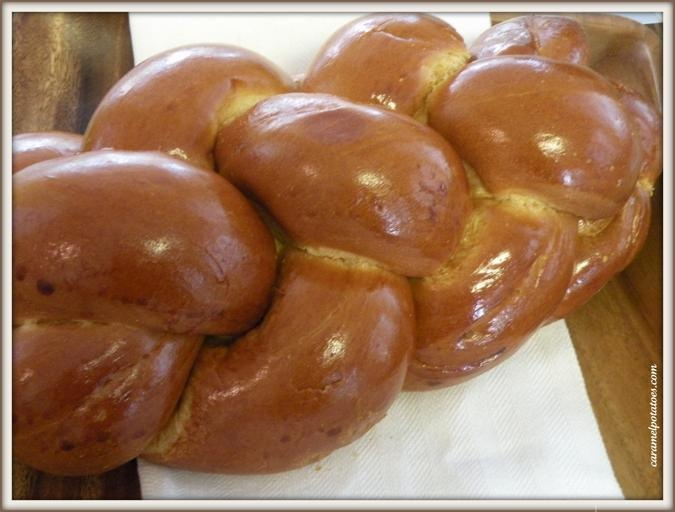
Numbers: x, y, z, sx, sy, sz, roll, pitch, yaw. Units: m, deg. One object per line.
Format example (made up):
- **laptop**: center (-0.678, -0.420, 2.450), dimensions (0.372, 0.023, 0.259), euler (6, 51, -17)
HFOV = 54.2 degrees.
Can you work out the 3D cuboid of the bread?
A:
- **bread**: center (-0.069, -0.015, 1.001), dimensions (0.962, 0.360, 0.508), euler (-24, 83, -15)
